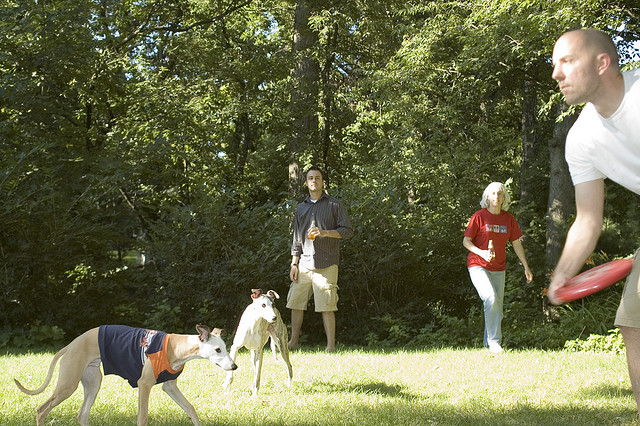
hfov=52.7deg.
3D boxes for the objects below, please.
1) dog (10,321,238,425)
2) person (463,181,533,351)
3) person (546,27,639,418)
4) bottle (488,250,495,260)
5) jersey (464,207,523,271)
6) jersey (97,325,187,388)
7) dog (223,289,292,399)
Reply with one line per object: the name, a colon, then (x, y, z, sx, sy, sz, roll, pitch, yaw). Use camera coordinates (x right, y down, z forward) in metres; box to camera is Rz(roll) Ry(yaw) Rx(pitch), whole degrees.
dog: (-2.490, 1.976, 8.222, 2.190, 1.317, 2.095, -2, 4, -26)
person: (3.053, 0.941, 11.558, 0.958, 2.949, 0.614, -4, 6, -43)
person: (2.909, 0.039, 6.855, 0.891, 3.908, 0.730, 1, 4, 19)
bottle: (2.982, 0.719, 11.280, 0.091, 0.164, 0.341, 1, 3, 20)
jersey: (3.182, 0.436, 11.572, 1.028, 1.052, 0.474, 2, 15, 35)
jersey: (-2.159, 1.650, 7.725, 0.849, 0.639, 0.424, 7, 35, -2)
dog: (-0.884, 1.794, 9.123, 0.685, 1.452, 1.029, 2, 5, 34)
